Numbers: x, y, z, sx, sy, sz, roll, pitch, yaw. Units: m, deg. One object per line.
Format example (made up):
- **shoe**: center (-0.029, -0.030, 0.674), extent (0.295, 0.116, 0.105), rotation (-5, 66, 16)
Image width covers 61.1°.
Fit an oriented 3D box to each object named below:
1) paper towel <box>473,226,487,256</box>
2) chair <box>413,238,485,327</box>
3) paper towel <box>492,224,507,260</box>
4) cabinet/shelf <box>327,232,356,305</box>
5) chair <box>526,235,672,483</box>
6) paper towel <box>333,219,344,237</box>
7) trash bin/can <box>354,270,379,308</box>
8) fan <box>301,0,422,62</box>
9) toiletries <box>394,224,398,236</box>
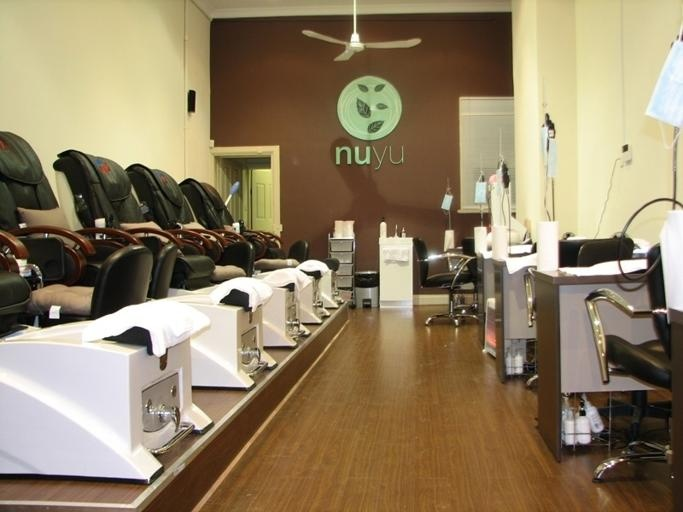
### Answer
- **paper towel**: center (1.264, -0.121, 5.249), extent (0.105, 0.253, 0.632), rotation (0, 7, 14)
- **chair**: center (1.245, 0.307, 6.564), extent (0.839, 1.255, 0.971), rotation (-2, 0, 4)
- **paper towel**: center (1.150, -0.127, 4.235), extent (0.146, 0.308, 0.160), rotation (2, 5, 20)
- **cabinet/shelf**: center (-0.005, 0.233, 7.964), extent (0.391, 1.007, 0.403), rotation (4, -20, -10)
- **chair**: center (1.214, 0.451, 2.881), extent (0.808, 0.946, 0.897), rotation (-1, 12, 4)
- **paper towel**: center (-0.043, -0.378, 8.106), extent (0.173, 0.356, 0.190), rotation (0, 4, -10)
- **trash bin/can**: center (0.348, 0.462, 7.951), extent (0.353, 0.482, 0.393), rotation (-4, 7, -25)
- **fan**: center (0.347, -3.173, 8.078), extent (1.029, 1.115, 1.018), rotation (-2, 14, -22)
- **toiletries**: center (0.781, -0.357, 8.261), extent (0.040, 0.144, 0.026), rotation (0, -10, 0)
